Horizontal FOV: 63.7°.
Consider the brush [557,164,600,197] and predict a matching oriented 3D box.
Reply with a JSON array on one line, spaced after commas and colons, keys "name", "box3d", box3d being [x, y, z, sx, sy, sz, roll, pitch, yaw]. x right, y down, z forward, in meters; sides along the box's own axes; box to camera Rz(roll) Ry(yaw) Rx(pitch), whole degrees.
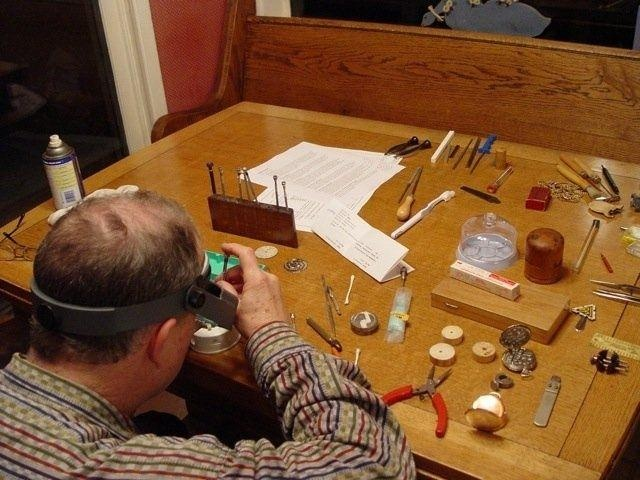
[{"name": "brush", "box3d": [0.959, -0.222, 1.911, 0.064, 0.022, 0.171, -23, 46, -24]}]

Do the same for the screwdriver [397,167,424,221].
[{"name": "screwdriver", "box3d": [0.336, -0.175, 1.909, 0.049, 0.054, 0.333, 54, 43, -9]}]

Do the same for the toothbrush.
[{"name": "toothbrush", "box3d": [0.369, -0.086, 1.826, 0.312, 0.050, 0.034, -34, 9, -29]}]
